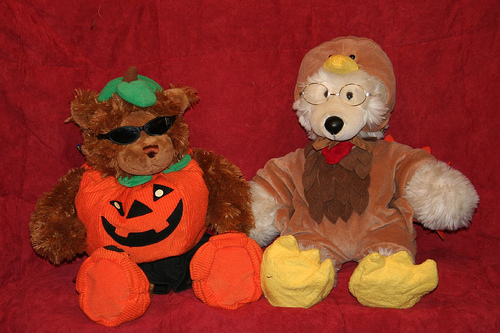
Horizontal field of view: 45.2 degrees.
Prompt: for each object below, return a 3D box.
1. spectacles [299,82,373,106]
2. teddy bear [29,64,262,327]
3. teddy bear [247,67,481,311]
[{"bbox_3d":[0.309,-0.263,2.150,0.255,0.082,0.079,1,7,5],"label":"spectacles"},{"bbox_3d":[-0.398,0.124,2.109,0.775,0.760,0.466,-11,13,-13],"label":"teddy bear"},{"bbox_3d":[0.331,0.032,2.191,0.967,0.820,0.610,-3,11,24],"label":"teddy bear"}]
